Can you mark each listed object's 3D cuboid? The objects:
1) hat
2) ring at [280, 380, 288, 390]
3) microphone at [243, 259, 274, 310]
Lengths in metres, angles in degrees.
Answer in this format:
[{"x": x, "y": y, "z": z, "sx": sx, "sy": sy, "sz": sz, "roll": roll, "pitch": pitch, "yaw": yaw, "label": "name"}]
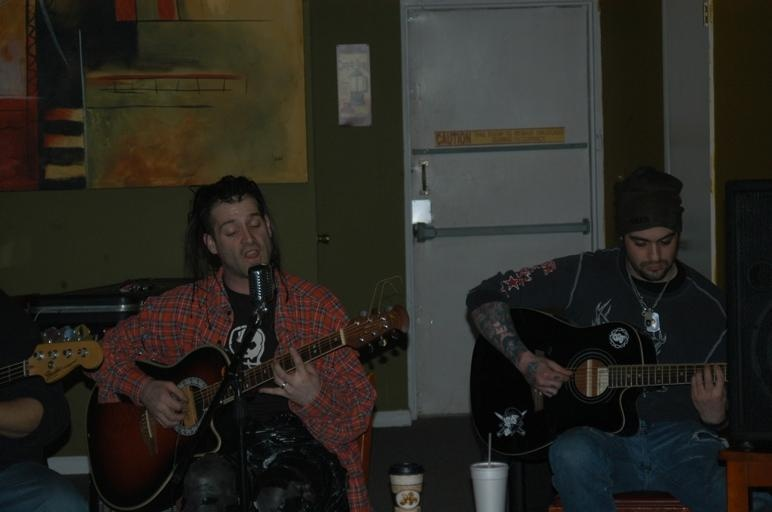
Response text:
[{"x": 1.328, "y": -0.270, "z": 3.809, "sx": 0.265, "sy": 0.352, "sz": 0.363, "roll": -4, "pitch": 10, "yaw": -38, "label": "hat"}, {"x": -0.447, "y": 0.565, "z": 3.343, "sx": 0.010, "sy": 0.038, "sz": 0.037, "roll": -12, "pitch": 10, "yaw": -39, "label": "ring"}, {"x": -0.497, "y": 0.107, "z": 3.060, "sx": 0.092, "sy": 0.164, "sz": 0.092, "roll": -10, "pitch": 13, "yaw": -21, "label": "microphone"}]
